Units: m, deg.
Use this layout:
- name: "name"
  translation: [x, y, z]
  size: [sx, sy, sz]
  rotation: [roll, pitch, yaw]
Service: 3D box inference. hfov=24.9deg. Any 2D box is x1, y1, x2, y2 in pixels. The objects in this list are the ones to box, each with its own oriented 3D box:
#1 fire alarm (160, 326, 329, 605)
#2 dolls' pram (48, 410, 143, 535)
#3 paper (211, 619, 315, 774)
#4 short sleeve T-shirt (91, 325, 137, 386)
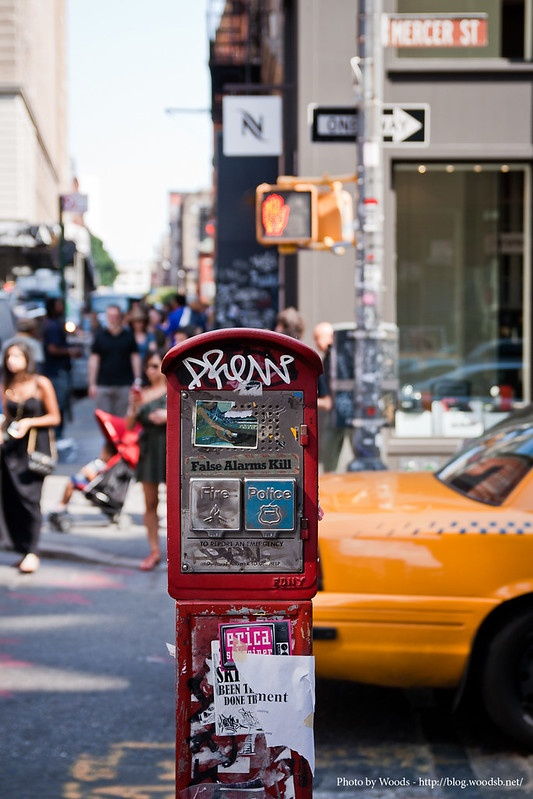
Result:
- name: "fire alarm"
  translation: [-0.067, 0.200, 4.224]
  size: [0.555, 0.928, 0.476]
  rotation: [0, 22, 0]
- name: "dolls' pram"
  translation: [-1.363, 0.551, 9.848]
  size: [0.708, 1.015, 0.513]
  rotation: [8, -1, -31]
- name: "paper"
  translation: [-0.026, 1.001, 4.028]
  size: [0.511, 0.654, 0.063]
  rotation: [0, 0, 0]
- name: "short sleeve T-shirt"
  translation: [-1.623, -0.439, 13.128]
  size: [0.667, 0.863, 0.492]
  rotation: [0, -8, -8]
